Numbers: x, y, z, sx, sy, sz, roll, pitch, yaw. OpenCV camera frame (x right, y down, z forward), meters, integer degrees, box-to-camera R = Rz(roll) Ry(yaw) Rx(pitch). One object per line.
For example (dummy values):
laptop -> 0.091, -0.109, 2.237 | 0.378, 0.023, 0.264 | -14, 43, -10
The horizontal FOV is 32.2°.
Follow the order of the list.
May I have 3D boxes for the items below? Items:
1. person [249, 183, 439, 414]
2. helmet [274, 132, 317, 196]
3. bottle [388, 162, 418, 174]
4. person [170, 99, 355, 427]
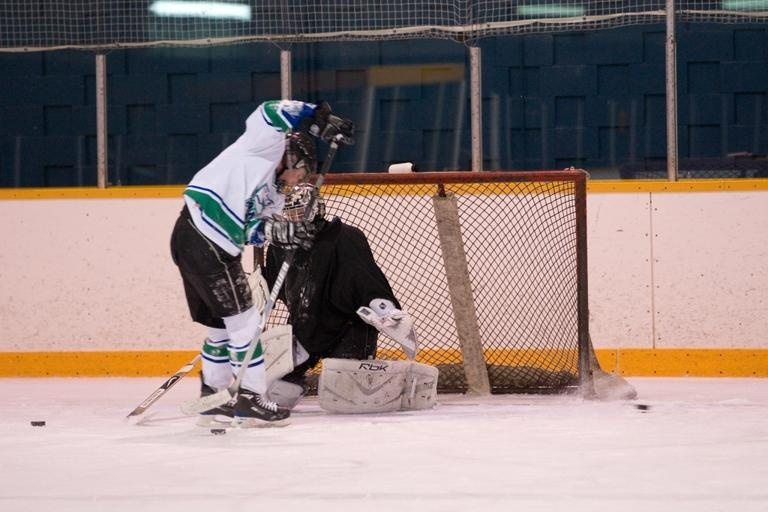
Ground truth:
person -> -0.288, 0.276, 8.297 | 1.195, 1.289, 1.412 | 0, 1, -44
helmet -> -0.555, -0.586, 7.922 | 0.201, 0.204, 0.340 | 25, -42, -4
bottle -> 0.130, -0.565, 8.559 | 0.174, 0.070, 0.127 | 1, 0, 4
person -> -0.750, 0.033, 7.767 | 0.938, 1.880, 0.228 | 1, 1, -13
